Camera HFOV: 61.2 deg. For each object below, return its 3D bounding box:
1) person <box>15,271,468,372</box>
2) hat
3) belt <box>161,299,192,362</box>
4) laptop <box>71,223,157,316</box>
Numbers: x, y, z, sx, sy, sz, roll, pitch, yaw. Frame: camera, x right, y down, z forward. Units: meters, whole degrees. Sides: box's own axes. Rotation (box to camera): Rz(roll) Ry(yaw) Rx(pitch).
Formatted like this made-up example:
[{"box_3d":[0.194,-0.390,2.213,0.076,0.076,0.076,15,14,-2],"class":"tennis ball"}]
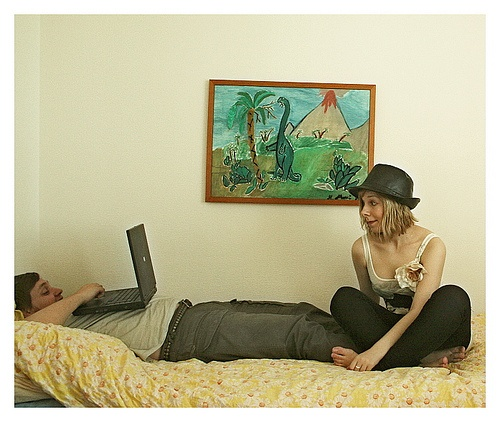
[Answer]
[{"box_3d":[-0.123,0.308,2.190,2.158,0.461,0.758,2,4,8],"class":"person"},{"box_3d":[0.692,-0.132,2.224,0.428,0.151,0.339,6,1,-31],"class":"hat"},{"box_3d":[-0.387,0.586,2.118,0.069,0.212,0.159,23,-3,-14],"class":"belt"},{"box_3d":[-0.745,0.337,2.383,0.392,0.376,0.453,-4,1,-1],"class":"laptop"}]
